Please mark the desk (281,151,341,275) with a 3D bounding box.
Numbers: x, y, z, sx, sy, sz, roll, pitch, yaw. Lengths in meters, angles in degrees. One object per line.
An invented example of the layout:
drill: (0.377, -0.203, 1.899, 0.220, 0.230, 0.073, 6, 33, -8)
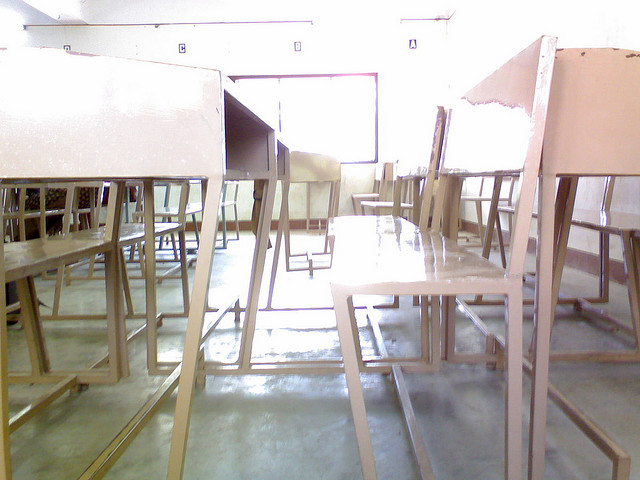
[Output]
desk: (-0.071, -0.227, 3.288, 0.467, 0.787, 0.477, 2, 11, 9)
